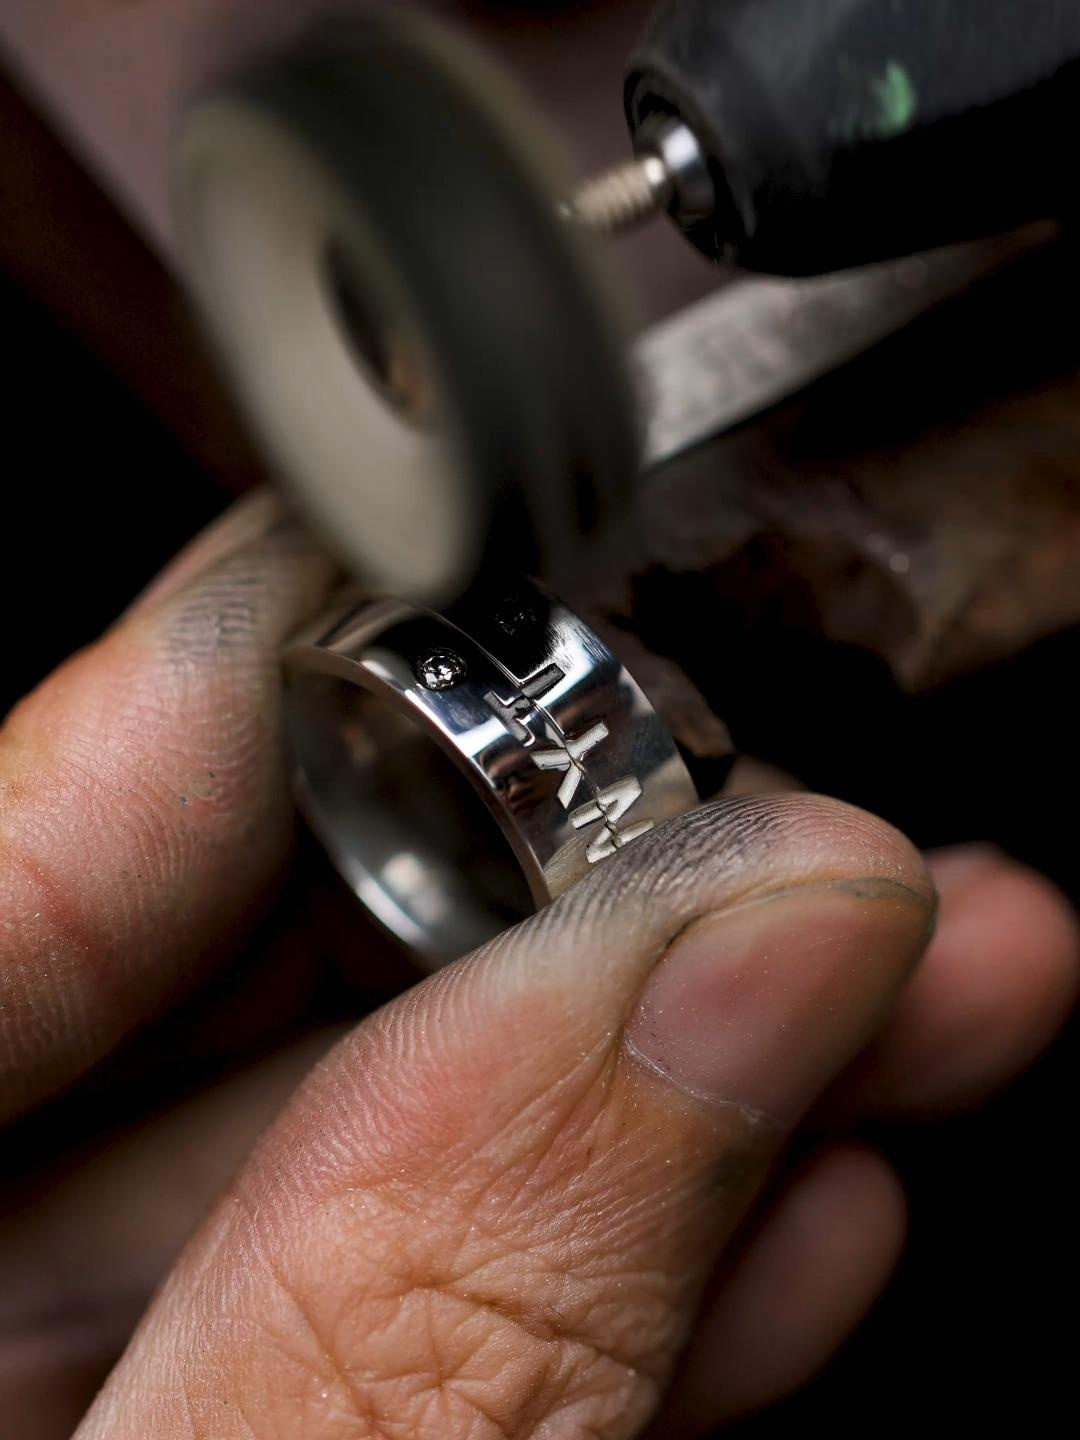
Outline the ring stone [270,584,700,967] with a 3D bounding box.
[{"bbox_3d":[-0.007,0.003,0.683,0.075,0.189,0.163,-38,64,-10],"label":"ring stone"}]
